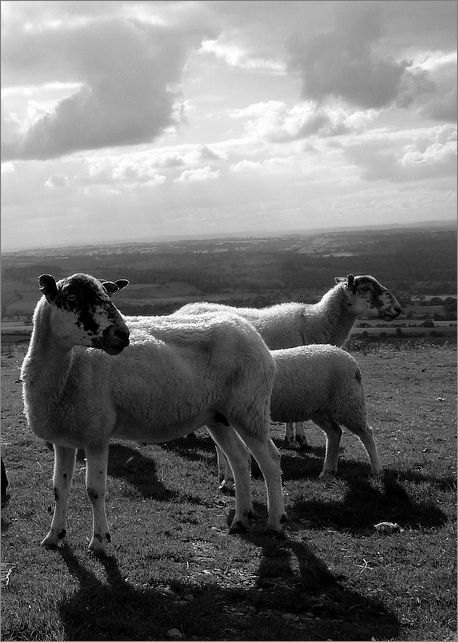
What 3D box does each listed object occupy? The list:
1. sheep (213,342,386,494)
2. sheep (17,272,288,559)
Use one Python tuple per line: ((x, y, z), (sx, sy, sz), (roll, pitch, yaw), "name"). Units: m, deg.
((0.558, 1.156, 9.222), (3.228, 1.936, 0.830), (2, -4, -36), "sheep")
((-0.649, 0.897, 6.793), (2.807, 2.258, 1.849), (9, -18, -42), "sheep")
